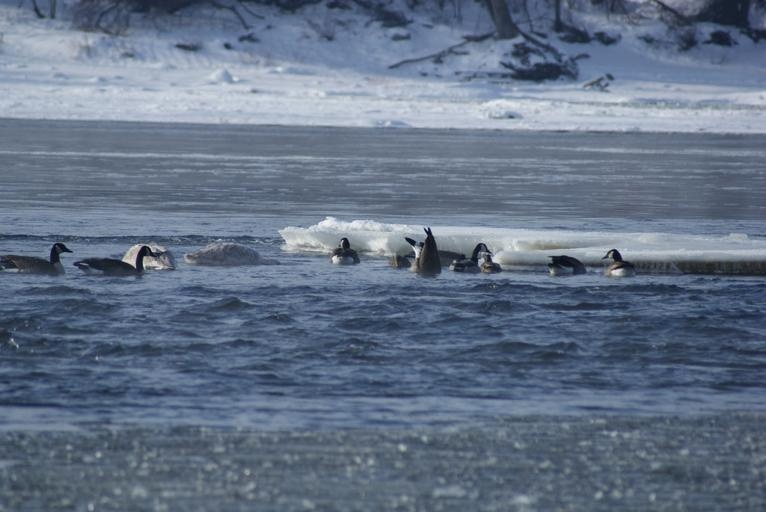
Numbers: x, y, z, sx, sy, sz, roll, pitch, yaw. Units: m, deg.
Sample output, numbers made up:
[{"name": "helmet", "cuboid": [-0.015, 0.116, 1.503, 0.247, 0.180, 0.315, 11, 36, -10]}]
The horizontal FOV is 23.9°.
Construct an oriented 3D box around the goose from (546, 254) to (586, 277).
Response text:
[{"name": "goose", "cuboid": [11.451, 0.774, 113.057, 2.218, 1.228, 0.499, 0, 6, 2]}]
